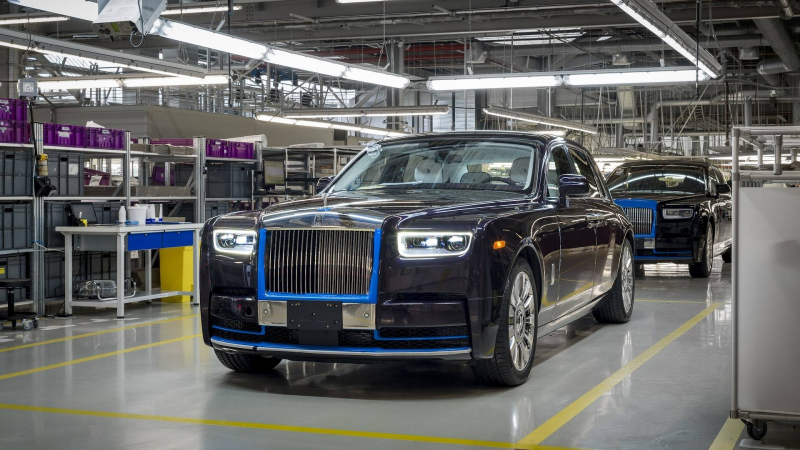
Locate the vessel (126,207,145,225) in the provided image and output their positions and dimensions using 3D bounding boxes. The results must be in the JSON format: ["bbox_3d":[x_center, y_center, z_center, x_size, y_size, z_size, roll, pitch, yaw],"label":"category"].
[{"bbox_3d":[-4.617,-0.166,11.590,0.332,0.284,0.325,-1,3,-44],"label":"vessel"}]

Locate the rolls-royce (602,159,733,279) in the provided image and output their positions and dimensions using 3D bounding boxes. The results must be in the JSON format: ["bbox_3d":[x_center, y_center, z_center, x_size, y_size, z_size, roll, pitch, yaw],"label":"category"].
[{"bbox_3d":[5.742,-0.352,14.148,2.227,1.709,4.529,-1,-2,29],"label":"rolls-royce"}]

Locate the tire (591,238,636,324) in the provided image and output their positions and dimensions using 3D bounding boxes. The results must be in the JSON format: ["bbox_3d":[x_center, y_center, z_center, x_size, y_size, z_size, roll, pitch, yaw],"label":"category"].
[{"bbox_3d":[3.001,0.777,9.401,0.440,1.164,1.290,2,10,32],"label":"tire"}]

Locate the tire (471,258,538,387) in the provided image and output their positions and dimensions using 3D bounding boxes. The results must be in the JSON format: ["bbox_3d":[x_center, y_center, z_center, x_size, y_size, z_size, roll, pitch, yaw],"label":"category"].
[{"bbox_3d":[1.063,1.008,6.944,0.441,1.165,1.269,4,16,15],"label":"tire"}]

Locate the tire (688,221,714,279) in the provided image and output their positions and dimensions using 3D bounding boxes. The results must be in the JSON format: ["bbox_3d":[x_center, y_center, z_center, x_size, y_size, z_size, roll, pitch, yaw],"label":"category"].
[{"bbox_3d":[6.264,0.464,13.833,0.445,1.198,1.320,1,-2,29],"label":"tire"}]

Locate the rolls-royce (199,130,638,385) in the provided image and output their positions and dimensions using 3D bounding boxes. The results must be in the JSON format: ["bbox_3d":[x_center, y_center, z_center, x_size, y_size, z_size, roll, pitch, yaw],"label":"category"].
[{"bbox_3d":[0.920,0.223,8.389,2.659,1.724,4.837,-2,-3,30],"label":"rolls-royce"}]

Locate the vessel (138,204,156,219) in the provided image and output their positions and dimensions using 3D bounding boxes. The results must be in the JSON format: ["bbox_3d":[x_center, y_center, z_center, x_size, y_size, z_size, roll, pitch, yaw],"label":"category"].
[{"bbox_3d":[-4.639,-0.270,12.001,0.297,0.289,0.280,2,4,11],"label":"vessel"}]

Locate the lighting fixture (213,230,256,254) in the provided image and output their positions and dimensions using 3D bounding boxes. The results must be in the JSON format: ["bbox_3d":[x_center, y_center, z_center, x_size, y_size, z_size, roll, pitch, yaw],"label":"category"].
[{"bbox_3d":[-1.778,0.163,7.099,0.379,0.142,0.293,1,1,16],"label":"lighting fixture"}]
